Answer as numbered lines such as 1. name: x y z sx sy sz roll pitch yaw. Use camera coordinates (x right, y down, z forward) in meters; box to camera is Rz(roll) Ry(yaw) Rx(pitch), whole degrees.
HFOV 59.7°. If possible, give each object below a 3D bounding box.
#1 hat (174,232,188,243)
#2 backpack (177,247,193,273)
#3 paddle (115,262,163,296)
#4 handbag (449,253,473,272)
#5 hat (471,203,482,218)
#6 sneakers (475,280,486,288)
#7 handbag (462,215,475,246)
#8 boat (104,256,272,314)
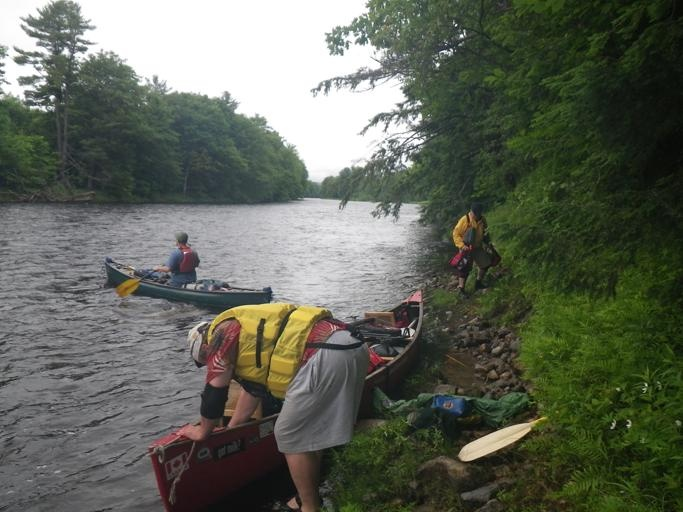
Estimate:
1. hat: -4.024 -0.447 14.904 0.249 0.278 0.422 5 5 -18
2. backpack: -4.021 0.105 15.157 0.513 0.723 0.375 -6 22 -28
3. paddle: -5.384 0.689 15.388 0.117 0.425 1.555 -19 16 44
4. handbag: 2.924 0.131 14.427 0.482 0.458 0.385 8 5 15
5. hat: 3.220 -1.063 14.098 0.235 0.290 0.288 -3 29 3
6. sneakers: 3.536 0.723 15.142 0.180 0.238 0.177 6 18 -13
7. handbag: 3.079 -0.574 14.247 0.458 0.617 0.649 0 -2 3
8. boat: -4.154 0.772 15.545 4.986 0.879 0.961 6 3 19
